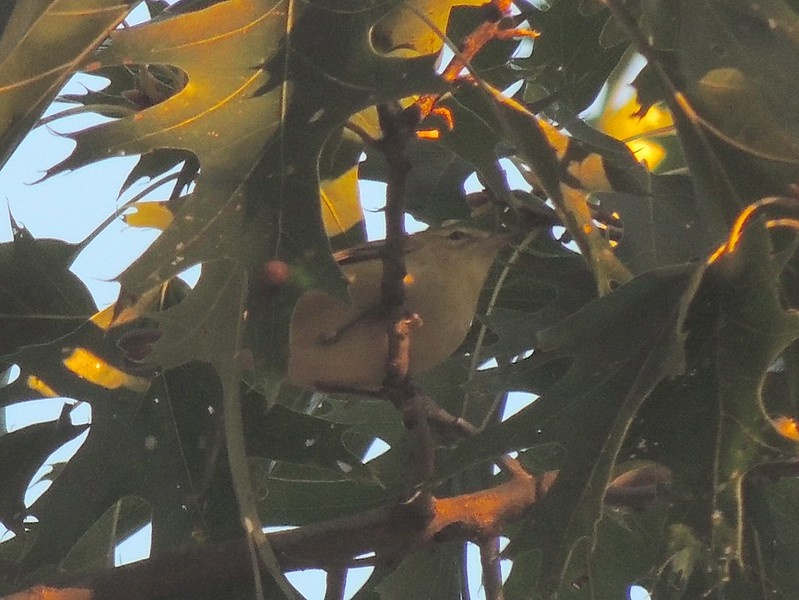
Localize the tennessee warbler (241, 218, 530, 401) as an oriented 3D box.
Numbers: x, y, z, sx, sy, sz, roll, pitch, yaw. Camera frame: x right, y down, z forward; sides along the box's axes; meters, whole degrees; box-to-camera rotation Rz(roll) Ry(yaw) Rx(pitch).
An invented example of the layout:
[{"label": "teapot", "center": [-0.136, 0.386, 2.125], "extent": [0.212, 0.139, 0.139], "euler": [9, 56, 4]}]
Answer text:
[{"label": "tennessee warbler", "center": [0.009, -0.042, 1.630], "extent": [0.108, 0.195, 0.132], "euler": [-14, -57, -33]}]
